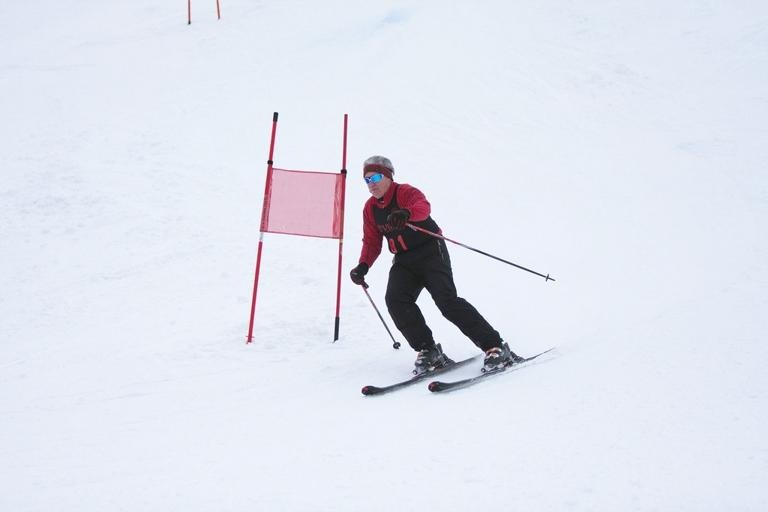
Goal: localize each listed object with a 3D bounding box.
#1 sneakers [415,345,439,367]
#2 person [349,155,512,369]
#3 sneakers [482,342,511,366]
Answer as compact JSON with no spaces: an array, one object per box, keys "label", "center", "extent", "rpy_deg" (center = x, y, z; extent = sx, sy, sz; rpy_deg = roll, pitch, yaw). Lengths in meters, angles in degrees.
[{"label":"sneakers","center":[0.434,0.988,8.116],"extent":[0.152,0.207,0.209],"rpy_deg":[-1,-7,42]},{"label":"person","center":[0.358,0.079,8.166],"extent":[1.401,2.133,0.521],"rpy_deg":[-5,0,5]},{"label":"sneakers","center":[1.098,0.964,8.073],"extent":[0.283,0.121,0.173],"rpy_deg":[-19,-3,-22]}]
